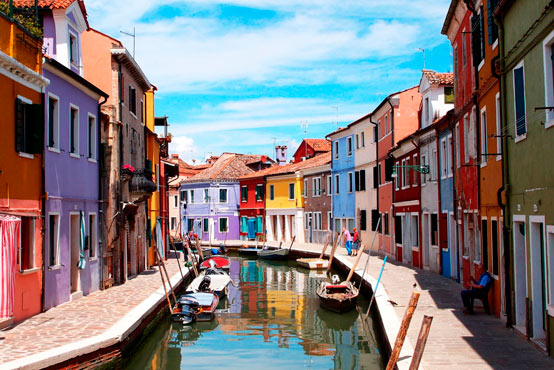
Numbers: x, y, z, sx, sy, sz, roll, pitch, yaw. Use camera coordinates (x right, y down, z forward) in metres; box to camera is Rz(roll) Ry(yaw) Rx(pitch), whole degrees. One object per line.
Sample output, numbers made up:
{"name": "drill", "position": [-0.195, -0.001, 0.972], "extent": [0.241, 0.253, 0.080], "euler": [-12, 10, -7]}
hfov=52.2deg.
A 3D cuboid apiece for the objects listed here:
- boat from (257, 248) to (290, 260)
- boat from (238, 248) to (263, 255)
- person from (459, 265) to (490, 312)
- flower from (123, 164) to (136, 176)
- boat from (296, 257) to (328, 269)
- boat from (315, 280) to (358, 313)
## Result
{"name": "boat", "position": [-0.296, 5.491, 45.060], "extent": [1.304, 0.671, 2.862], "euler": [1, -1, -38]}
{"name": "boat", "position": [-2.416, 5.716, 48.294], "extent": [1.336, 0.342, 0.818], "euler": [-1, -4, 15]}
{"name": "person", "position": [6.783, 3.528, 19.362], "extent": [0.908, 1.696, 0.829], "euler": [4, 0, 9]}
{"name": "flower", "position": [-7.048, -0.703, 26.668], "extent": [0.501, 0.409, 0.558], "euler": [0, 0, 18]}
{"name": "boat", "position": [2.440, 5.374, 38.332], "extent": [1.080, 0.528, 2.552], "euler": [1, -1, -22]}
{"name": "boat", "position": [2.578, 4.843, 24.211], "extent": [1.613, 0.914, 2.547], "euler": [1, -1, 4]}
